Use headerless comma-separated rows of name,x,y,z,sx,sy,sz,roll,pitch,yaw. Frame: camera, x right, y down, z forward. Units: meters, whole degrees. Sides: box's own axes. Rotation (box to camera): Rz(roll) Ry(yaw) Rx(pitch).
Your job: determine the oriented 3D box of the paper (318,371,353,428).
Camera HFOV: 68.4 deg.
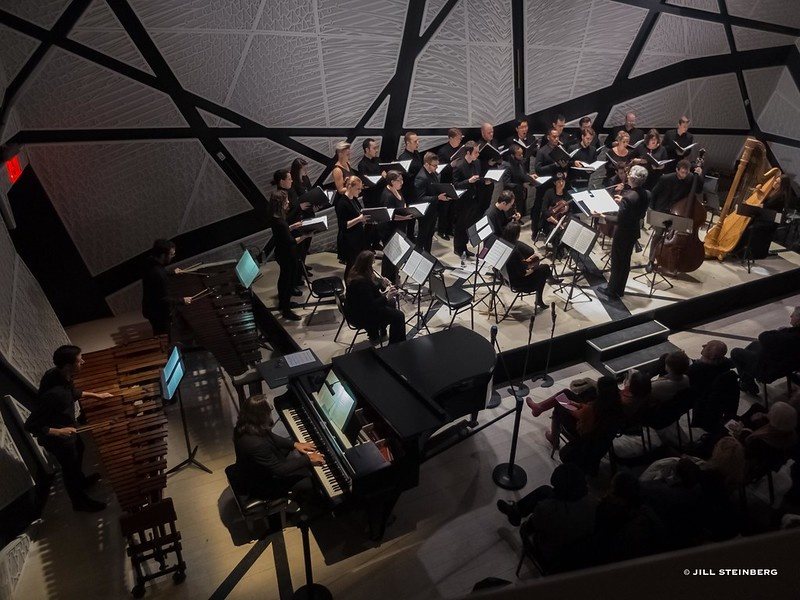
paper,-0.661,1.062,6.112,0.070,0.520,0.373,11,-67,-35
